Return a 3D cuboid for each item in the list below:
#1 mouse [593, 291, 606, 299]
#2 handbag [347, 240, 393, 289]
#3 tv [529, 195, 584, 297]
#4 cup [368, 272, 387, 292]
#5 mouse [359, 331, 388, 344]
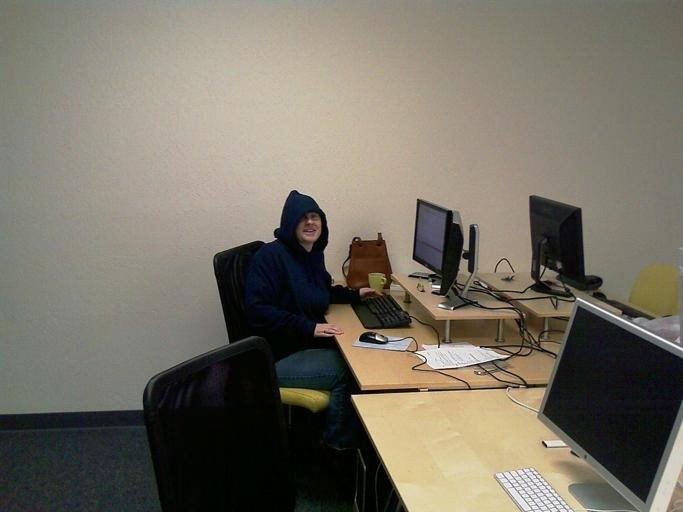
[{"bbox_3d":[1.527,0.234,3.038,0.046,0.014,0.050,8,15,-10],"label":"mouse"},{"bbox_3d":[0.181,0.060,3.408,0.291,0.326,0.140,0,5,-2],"label":"handbag"},{"bbox_3d":[1.194,-0.037,2.864,0.170,0.525,0.495,-13,15,-12],"label":"tv"},{"bbox_3d":[0.227,0.164,3.268,0.115,0.108,0.093,5,6,32],"label":"cup"},{"bbox_3d":[0.160,0.413,2.614,0.113,0.038,0.061,-1,22,12],"label":"mouse"}]
